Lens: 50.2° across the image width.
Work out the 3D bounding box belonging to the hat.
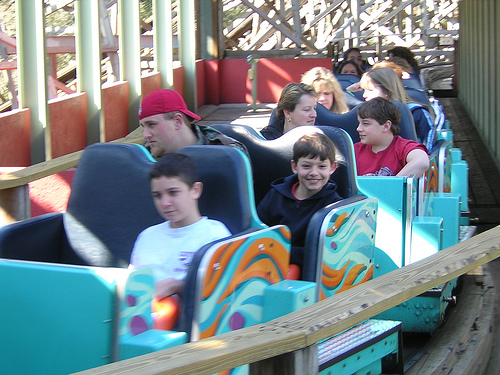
[{"bbox_3d":[-0.428,-0.434,2.742,0.342,0.164,0.219,-10,15,-30],"label":"hat"}]

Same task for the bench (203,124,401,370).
[{"bbox_3d":[0.423,0.208,2.467,0.793,1.144,1.080,-9,2,28],"label":"bench"}]
